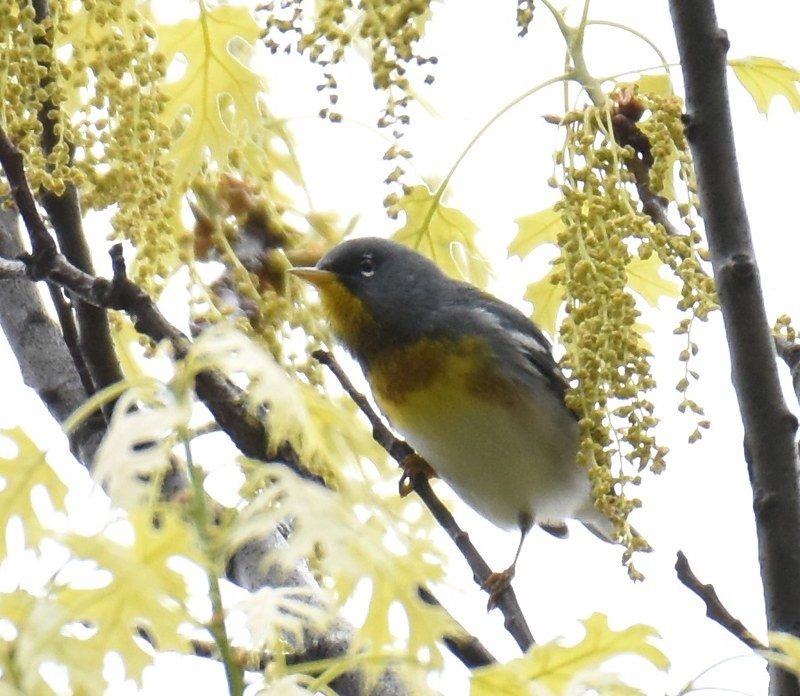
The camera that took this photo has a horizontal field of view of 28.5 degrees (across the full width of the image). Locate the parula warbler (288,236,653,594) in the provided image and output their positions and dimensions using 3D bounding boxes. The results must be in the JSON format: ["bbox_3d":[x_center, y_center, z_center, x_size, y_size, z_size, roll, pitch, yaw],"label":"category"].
[{"bbox_3d":[0.269,0.167,4.029,0.468,0.759,1.017,-27,-28,38],"label":"parula warbler"}]
